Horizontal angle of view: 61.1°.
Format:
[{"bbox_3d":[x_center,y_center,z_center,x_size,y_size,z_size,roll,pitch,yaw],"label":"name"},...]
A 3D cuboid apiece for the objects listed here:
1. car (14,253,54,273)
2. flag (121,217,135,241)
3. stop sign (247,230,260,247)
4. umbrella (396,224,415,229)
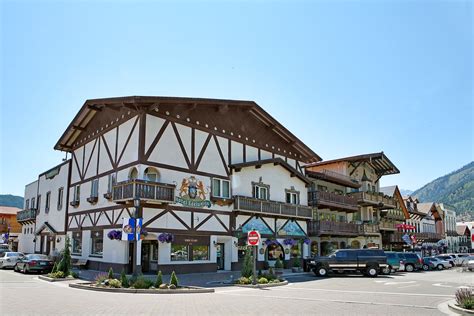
[{"bbox_3d":[-17.470,9.185,34.685,4.225,1.685,1.605,-3,-6,38],"label":"car"},{"bbox_3d":[-7.250,4.831,26.786,0.821,1.608,0.047,6,11,-6],"label":"flag"},{"bbox_3d":[1.130,5.571,27.886,0.720,1.058,1.078,0,-5,9],"label":"stop sign"},{"bbox_3d":[24.413,10.048,58.271,1.964,0.707,3.232,-2,-6,30],"label":"umbrella"}]
